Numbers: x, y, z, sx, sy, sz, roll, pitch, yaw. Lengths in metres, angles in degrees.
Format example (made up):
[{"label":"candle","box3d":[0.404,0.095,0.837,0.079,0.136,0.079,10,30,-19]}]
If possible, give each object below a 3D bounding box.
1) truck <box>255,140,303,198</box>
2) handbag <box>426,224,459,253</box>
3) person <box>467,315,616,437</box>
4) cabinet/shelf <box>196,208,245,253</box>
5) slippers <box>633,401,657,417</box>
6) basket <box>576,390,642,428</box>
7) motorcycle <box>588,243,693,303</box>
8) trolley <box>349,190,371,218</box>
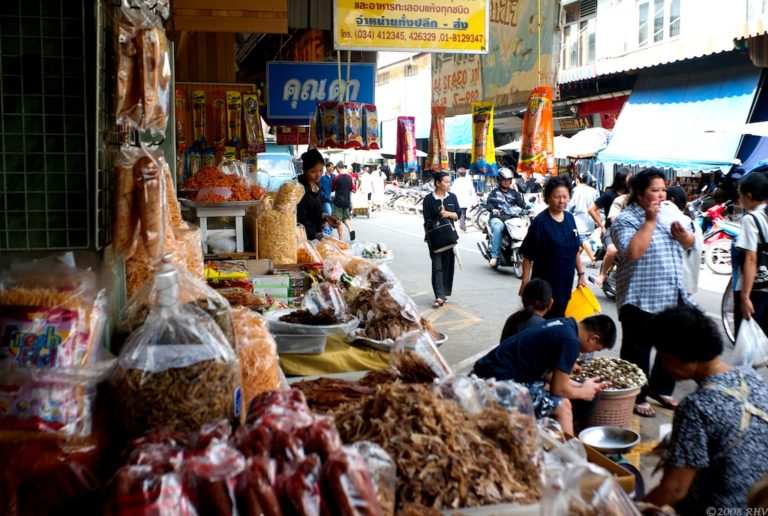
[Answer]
[{"label":"truck","box3d":[-2.898,-2.459,13.550,1.599,1.503,2.675,-2,6,-9]},{"label":"handbag","box3d":[0.971,-0.331,8.483,0.458,0.597,0.217,-1,5,16]},{"label":"person","box3d":[1.302,0.986,4.056,1.108,1.103,0.572,-7,12,-30]},{"label":"cabinet/shelf","box3d":[-1.502,-0.292,4.833,0.419,0.438,0.430,-1,8,-3]},{"label":"slippers","box3d":[2.503,1.447,4.938,0.090,0.106,0.262,0,-5,-7]},{"label":"basket","box3d":[1.970,1.265,4.405,0.379,0.254,0.381,-4,5,-21]},{"label":"motorcycle","box3d":[4.040,0.264,8.343,1.369,0.930,0.764,0,8,35]},{"label":"trolley","box3d":[-1.067,-2.373,22.724,1.165,1.728,0.982,-1,4,-18]}]
